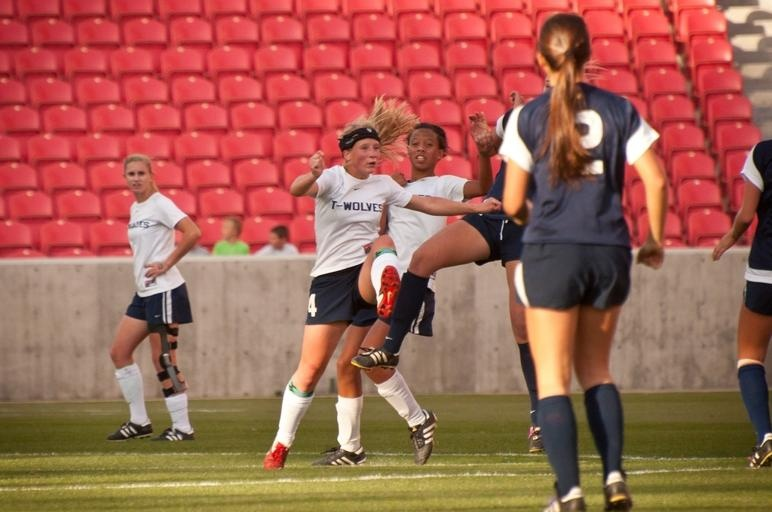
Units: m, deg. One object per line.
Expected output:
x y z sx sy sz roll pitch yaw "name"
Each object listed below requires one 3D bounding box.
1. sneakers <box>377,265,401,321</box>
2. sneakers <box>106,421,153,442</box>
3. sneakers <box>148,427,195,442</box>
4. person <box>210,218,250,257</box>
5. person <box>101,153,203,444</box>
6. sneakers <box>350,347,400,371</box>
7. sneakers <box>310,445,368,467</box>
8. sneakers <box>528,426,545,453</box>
0.051 0.399 16.949 0.244 0.521 0.255 7 6 3 "sneakers"
-2.943 2.062 18.208 0.563 0.203 0.188 2 -4 -10 "sneakers"
-2.451 2.078 18.164 0.501 0.169 0.167 3 -9 1 "sneakers"
-2.053 -0.259 21.056 0.490 0.524 1.356 -2 0 -6 "person"
-2.689 0.479 18.354 1.066 3.376 0.562 -3 0 -6 "person"
-0.107 1.126 17.022 0.580 0.224 0.204 4 -10 -12 "sneakers"
-0.507 2.232 17.270 0.618 0.201 0.203 1 -6 -3 "sneakers"
1.679 2.080 17.556 0.185 0.207 0.476 0 3 0 "sneakers"
